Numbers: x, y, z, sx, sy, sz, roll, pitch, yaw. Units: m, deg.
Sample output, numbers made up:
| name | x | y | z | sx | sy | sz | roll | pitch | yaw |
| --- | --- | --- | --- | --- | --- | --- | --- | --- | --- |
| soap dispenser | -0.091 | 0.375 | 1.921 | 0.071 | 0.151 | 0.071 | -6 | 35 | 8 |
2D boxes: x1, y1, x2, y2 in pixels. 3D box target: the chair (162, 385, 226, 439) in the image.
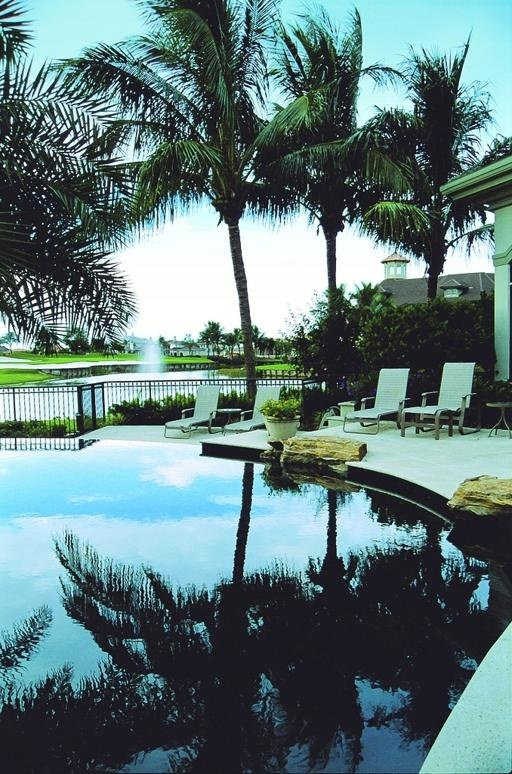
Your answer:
| name | x | y | z | sx | sy | sz | roll | pitch | yaw |
| --- | --- | --- | --- | --- | --- | --- | --- | --- | --- |
| chair | -1.220 | 0.489 | 12.769 | 0.617 | 1.091 | 1.556 | 0 | -1 | 22 |

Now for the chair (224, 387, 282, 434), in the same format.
| name | x | y | z | sx | sy | sz | roll | pitch | yaw |
| --- | --- | --- | --- | --- | --- | --- | --- | --- | --- |
| chair | -0.064 | 0.466 | 12.276 | 0.679 | 0.858 | 1.180 | 2 | 6 | 35 |

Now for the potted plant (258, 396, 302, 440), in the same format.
| name | x | y | z | sx | sy | sz | roll | pitch | yaw |
| --- | --- | --- | --- | --- | --- | --- | --- | --- | --- |
| potted plant | 0.427 | 0.534 | 10.517 | 0.593 | 0.690 | 0.594 | -1 | -3 | -3 |

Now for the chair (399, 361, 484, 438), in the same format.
| name | x | y | z | sx | sy | sz | roll | pitch | yaw |
| --- | --- | --- | --- | --- | --- | --- | --- | --- | --- |
| chair | 3.176 | 0.215 | 10.873 | 1.148 | 1.181 | 2.464 | 0 | 4 | 19 |
